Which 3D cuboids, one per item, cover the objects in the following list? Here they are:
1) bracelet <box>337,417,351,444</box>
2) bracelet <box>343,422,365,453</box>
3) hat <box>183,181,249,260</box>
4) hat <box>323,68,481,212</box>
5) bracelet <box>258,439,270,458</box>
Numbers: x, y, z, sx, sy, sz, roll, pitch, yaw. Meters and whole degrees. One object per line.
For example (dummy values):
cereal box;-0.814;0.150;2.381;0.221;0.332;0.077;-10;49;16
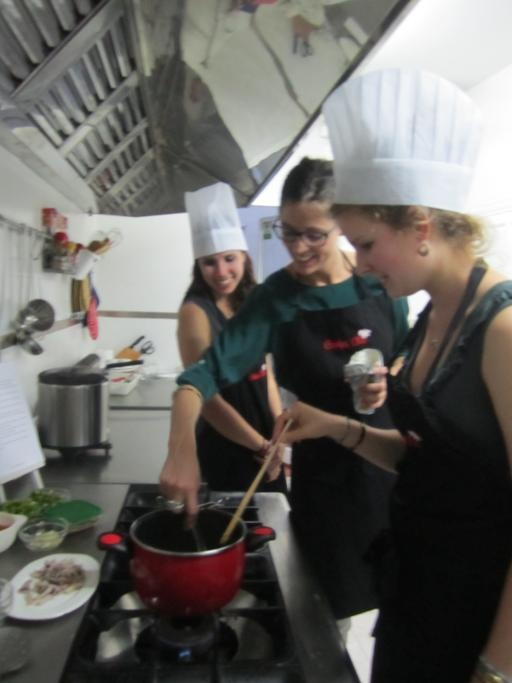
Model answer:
bracelet;0.202;0.202;1.160;0.015;0.046;0.050;10;3;1
bracelet;0.234;0.217;1.165;0.017;0.054;0.053;30;-20;-20
hat;-0.141;-0.422;1.818;0.206;0.234;0.256;-18;10;6
hat;0.235;-0.310;0.924;0.291;0.190;0.247;-1;4;-14
bracelet;0.027;0.351;1.692;0.044;0.054;0.052;-3;54;-10
